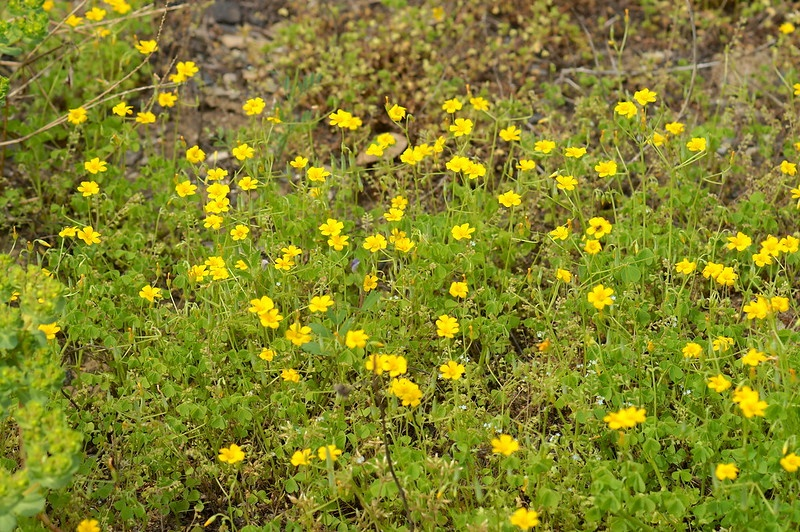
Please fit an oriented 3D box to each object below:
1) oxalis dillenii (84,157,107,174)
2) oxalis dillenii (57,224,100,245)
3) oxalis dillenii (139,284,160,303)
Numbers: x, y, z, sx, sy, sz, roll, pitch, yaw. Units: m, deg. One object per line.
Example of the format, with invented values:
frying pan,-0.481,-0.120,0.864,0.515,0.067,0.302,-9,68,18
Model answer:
oxalis dillenii,-2.034,-0.668,5.169,0.126,0.035,0.131,33,50,26
oxalis dillenii,-1.998,-0.151,4.806,0.171,0.063,0.175,5,31,-40
oxalis dillenii,-1.522,0.190,4.703,0.109,0.046,0.114,30,66,9
